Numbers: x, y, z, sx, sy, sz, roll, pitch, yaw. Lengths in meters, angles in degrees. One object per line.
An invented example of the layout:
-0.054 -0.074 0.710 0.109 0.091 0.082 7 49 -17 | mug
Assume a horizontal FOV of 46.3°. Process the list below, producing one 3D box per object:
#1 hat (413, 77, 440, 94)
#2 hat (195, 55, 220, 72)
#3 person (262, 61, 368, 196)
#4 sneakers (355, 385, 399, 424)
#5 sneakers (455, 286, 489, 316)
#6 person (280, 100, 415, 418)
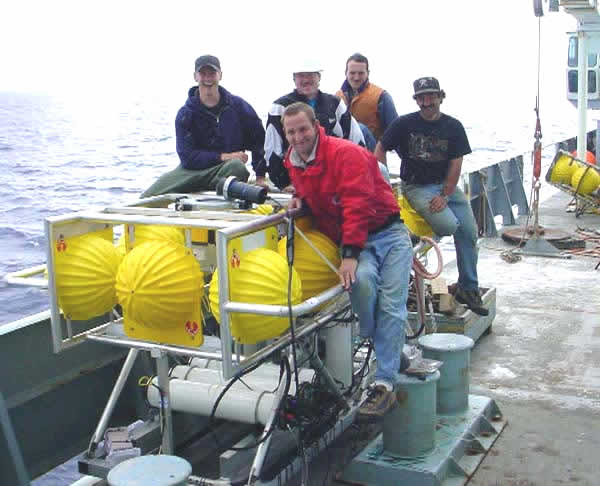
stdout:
1.131 -1.382 6.192 0.254 0.152 0.172 0 10 9 | hat
-0.783 -1.503 5.874 0.206 0.140 0.153 -2 10 -2 | hat
0.094 -0.987 6.155 0.887 1.180 0.719 -5 4 -7 | person
0.517 1.036 4.662 0.131 0.163 0.371 19 36 30 | sneakers
1.736 0.543 6.980 0.141 0.222 0.445 -7 28 -29 | sneakers
0.334 0.090 4.725 0.837 2.028 0.674 0 10 9 | person
